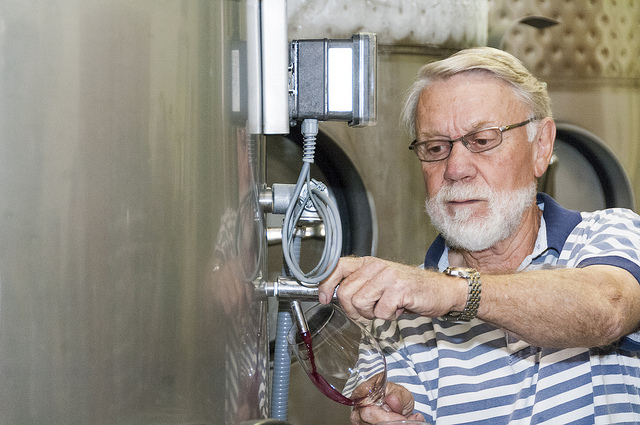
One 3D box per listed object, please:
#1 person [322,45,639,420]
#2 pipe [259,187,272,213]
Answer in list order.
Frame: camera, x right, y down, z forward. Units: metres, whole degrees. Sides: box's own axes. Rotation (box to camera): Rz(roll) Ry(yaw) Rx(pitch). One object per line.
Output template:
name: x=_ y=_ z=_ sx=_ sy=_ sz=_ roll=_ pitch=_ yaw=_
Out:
person: x=0.414 y=0.063 z=2.454 sx=0.737 sy=0.977 sz=0.884 roll=-2 pitch=4 yaw=3
pipe: x=-0.108 y=-0.026 z=1.968 sx=0.030 sy=0.052 sz=0.043 roll=-1 pitch=1 yaw=-1
